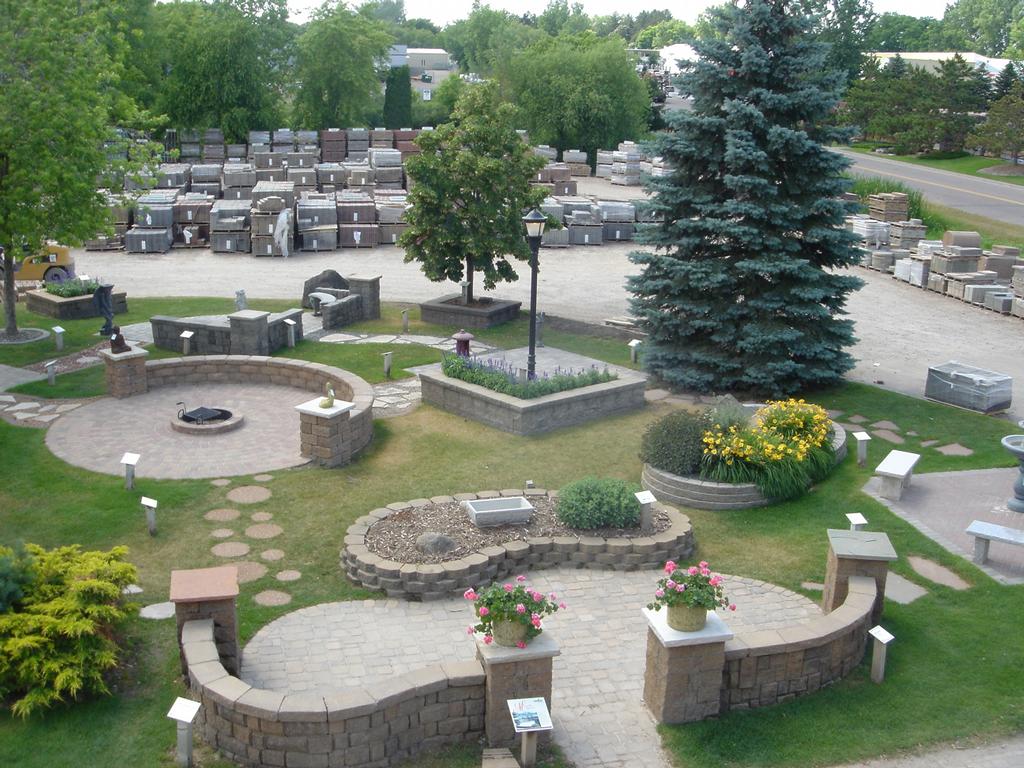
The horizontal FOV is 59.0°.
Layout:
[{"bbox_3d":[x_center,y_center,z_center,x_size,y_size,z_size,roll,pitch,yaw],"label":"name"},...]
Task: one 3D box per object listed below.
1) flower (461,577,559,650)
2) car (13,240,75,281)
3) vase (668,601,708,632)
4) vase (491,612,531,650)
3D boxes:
[{"bbox_3d":[0.064,2.981,12.337,1.221,0.693,1.147,-5,10,-31],"label":"flower"},{"bbox_3d":[-16.454,-4.386,31.928,2.440,1.436,1.130,0,10,-8],"label":"car"},{"bbox_3d":[2.428,3.161,12.428,0.467,0.240,0.431,-5,9,-25],"label":"vase"},{"bbox_3d":[0.012,3.234,12.161,0.444,0.284,0.443,9,15,36],"label":"vase"}]
